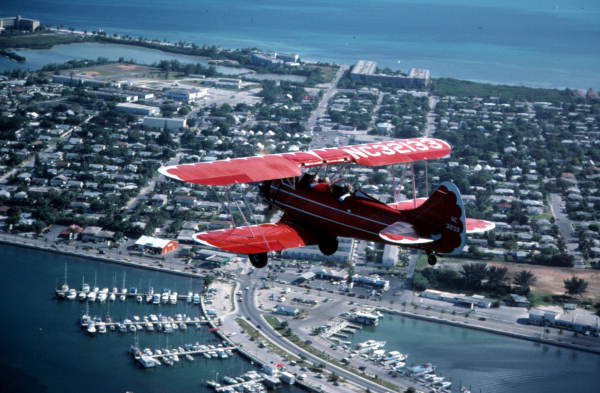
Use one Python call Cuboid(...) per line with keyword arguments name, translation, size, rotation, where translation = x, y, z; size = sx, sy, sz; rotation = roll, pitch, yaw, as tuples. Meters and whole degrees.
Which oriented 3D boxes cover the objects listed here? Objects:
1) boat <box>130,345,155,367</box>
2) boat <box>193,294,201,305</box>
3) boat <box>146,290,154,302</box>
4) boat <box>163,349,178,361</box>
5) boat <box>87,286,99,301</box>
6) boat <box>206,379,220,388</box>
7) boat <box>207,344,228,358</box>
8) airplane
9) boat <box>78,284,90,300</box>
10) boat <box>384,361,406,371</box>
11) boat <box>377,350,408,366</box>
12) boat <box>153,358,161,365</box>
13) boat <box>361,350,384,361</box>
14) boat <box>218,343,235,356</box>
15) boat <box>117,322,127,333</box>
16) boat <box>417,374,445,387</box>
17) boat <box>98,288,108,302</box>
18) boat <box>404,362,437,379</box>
Cuboid(name="boat", translation=(-4.880, 4.890, 19.469), size=(0.900, 0.240, 0.503), rotation=(24, 25, 36))
Cuboid(name="boat", translation=(-3.622, 3.571, 22.031), size=(0.328, 0.236, 0.101), rotation=(2, -13, -4))
Cuboid(name="boat", translation=(-5.258, 3.457, 22.035), size=(0.194, 0.100, 0.479), rotation=(8, 30, -7))
Cuboid(name="boat", translation=(-4.024, 4.883, 19.508), size=(0.427, 0.166, 0.412), rotation=(-13, 33, -36))
Cuboid(name="boat", translation=(-7.226, 3.378, 22.025), size=(0.218, 0.165, 0.563), rotation=(15, 20, -13))
Cuboid(name="boat", translation=(-2.585, 5.518, 18.714), size=(0.332, 0.076, 0.253), rotation=(11, 15, 30))
Cuboid(name="boat", translation=(-2.590, 4.815, 19.767), size=(0.483, 0.113, 0.432), rotation=(-6, 24, -30))
Cuboid(name="airplane", translation=(0.759, 0.185, 13.990), size=(4.842, 1.445, 5.492), rotation=(16, 20, 40))
Cuboid(name="boat", translation=(-7.554, 3.332, 22.065), size=(0.505, 0.181, 0.482), rotation=(2, 35, -14))
Cuboid(name="boat", translation=(2.923, 5.186, 19.510), size=(0.629, 0.151, 0.375), rotation=(-5, 16, -43))
Cuboid(name="boat", translation=(2.853, 5.020, 19.690), size=(1.131, 0.212, 0.303), rotation=(-7, 24, -24))
Cuboid(name="boat", translation=(-4.372, 5.042, 19.365), size=(0.244, 0.077, 0.162), rotation=(19, 23, -36))
Cuboid(name="boat", translation=(2.290, 4.937, 19.761), size=(0.511, 0.105, 0.375), rotation=(1, 6, 11))
Cuboid(name="boat", translation=(-2.331, 4.803, 19.820), size=(0.415, 0.140, 0.330), rotation=(1, 24, -18))
Cuboid(name="boat", translation=(-5.837, 4.260, 20.647), size=(0.279, 0.187, 0.386), rotation=(3, 12, -19))
Cuboid(name="boat", translation=(3.985, 5.497, 19.023), size=(0.575, 0.092, 0.316), rotation=(0, 11, -10))
Cuboid(name="boat", translation=(-6.893, 3.432, 22.039), size=(0.236, 0.141, 0.528), rotation=(3, 21, -6))
Cuboid(name="boat", translation=(3.663, 5.319, 19.357), size=(1.119, 0.217, 0.305), rotation=(-4, -18, -22))
